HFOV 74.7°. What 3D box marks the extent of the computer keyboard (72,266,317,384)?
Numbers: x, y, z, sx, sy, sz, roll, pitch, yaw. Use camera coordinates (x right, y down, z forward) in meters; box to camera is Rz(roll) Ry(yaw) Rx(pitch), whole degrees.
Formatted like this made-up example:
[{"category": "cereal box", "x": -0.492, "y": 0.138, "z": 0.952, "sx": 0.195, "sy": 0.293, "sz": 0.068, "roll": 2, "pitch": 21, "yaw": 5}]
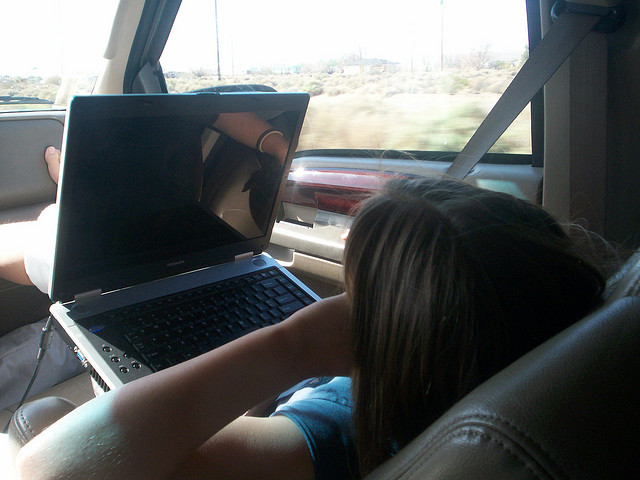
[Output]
[{"category": "computer keyboard", "x": -0.234, "y": 0.160, "z": 0.871, "sx": 0.453, "sy": 0.062, "sz": 0.182, "roll": -10, "pitch": 21, "yaw": -41}]
